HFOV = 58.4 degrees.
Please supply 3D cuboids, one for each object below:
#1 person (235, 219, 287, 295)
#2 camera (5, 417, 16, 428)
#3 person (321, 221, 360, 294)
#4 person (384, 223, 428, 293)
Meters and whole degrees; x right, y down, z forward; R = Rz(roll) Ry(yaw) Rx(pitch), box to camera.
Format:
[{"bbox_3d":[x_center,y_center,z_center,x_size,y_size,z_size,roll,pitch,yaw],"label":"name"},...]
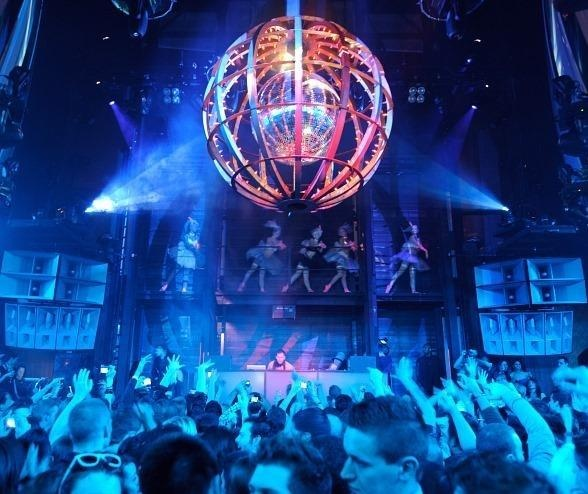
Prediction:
[{"bbox_3d":[-0.832,0.236,13.859,0.894,2.172,0.669,0,1,-40],"label":"person"},{"bbox_3d":[-2.866,1.774,5.346,0.103,0.030,0.105,-7,-60,20],"label":"camera"},{"bbox_3d":[1.296,0.268,13.728,0.552,2.095,0.678,1,0,-42],"label":"person"},{"bbox_3d":[3.181,0.381,14.862,1.127,2.132,1.055,-10,-37,34],"label":"person"}]
